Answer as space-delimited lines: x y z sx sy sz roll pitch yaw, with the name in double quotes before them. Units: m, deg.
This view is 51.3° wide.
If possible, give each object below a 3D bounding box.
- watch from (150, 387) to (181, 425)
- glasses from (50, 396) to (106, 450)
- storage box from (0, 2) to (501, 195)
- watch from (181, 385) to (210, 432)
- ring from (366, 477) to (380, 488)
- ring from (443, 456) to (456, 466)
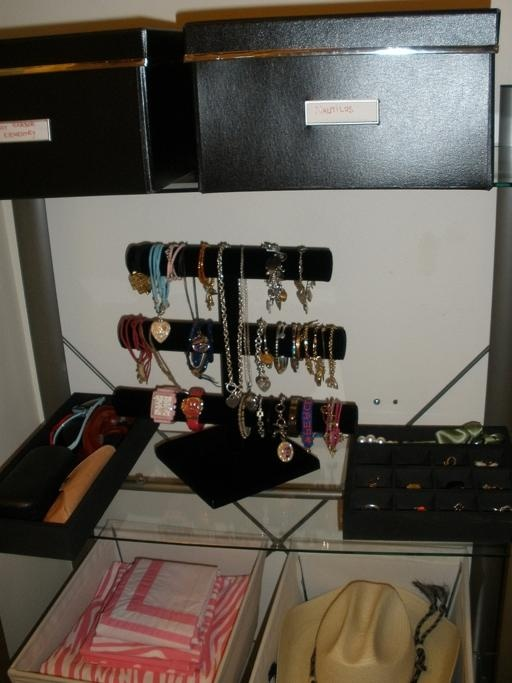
"watch" -0.176 0.124 1.015 0.046 0.067 0.023 1 -5 8
"glasses" -0.391 0.187 1.186 0.067 0.116 0.034 15 -22 42
"storage box" -0.024 -0.305 0.710 0.611 0.208 0.210 1 19 4
"watch" -0.120 0.134 1.039 0.048 0.087 0.080 6 7 -16
"ring" 0.241 0.292 1.099 0.022 0.021 0.005 8 3 6
"ring" 0.404 0.253 1.119 0.015 0.020 0.007 13 1 3
